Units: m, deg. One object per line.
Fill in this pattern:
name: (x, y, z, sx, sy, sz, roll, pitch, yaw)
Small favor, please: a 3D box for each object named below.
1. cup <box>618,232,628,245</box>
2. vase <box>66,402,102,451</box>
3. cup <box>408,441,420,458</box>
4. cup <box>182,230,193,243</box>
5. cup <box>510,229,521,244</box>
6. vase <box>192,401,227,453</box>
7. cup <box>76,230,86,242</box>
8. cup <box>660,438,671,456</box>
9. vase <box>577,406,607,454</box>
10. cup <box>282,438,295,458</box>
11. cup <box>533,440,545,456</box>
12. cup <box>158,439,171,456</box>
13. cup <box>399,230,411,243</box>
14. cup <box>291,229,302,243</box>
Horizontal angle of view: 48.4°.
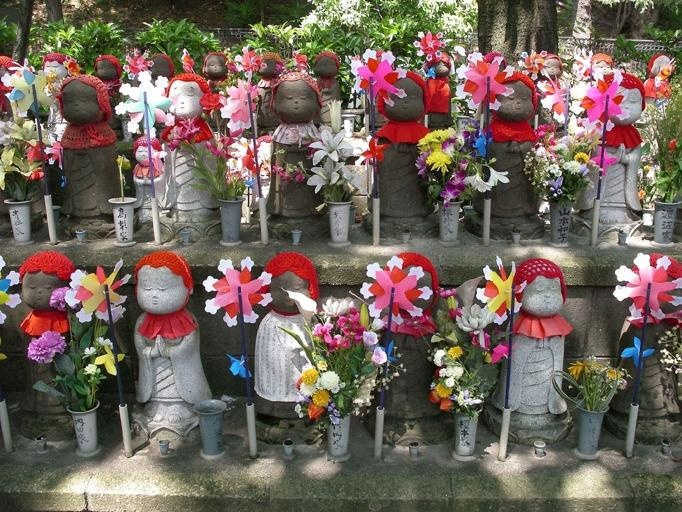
cup: (2.108, -0.132, 5.728, 0.089, 0.093, 0.085, -2, 9, 0)
vase: (-1.705, 1.179, 5.110, 0.215, 0.292, 0.223, -5, -2, 29)
cup: (0.476, 1.287, 5.070, 0.077, 0.103, 0.109, 6, 5, 35)
cup: (-1.160, -0.148, 5.737, 0.096, 0.098, 0.097, 0, 14, 0)
cup: (1.292, -0.157, 5.747, 0.097, 0.094, 0.093, 0, 4, 0)
vase: (-0.876, 1.147, 5.081, 0.204, 0.339, 0.258, -2, 7, -12)
cup: (-1.965, -0.154, 5.788, 0.094, 0.085, 0.073, -2, 6, -42)
cup: (2.168, 1.285, 5.082, 0.065, 0.084, 0.035, -13, -34, 37)
vase: (1.653, 1.159, 5.073, 0.170, 0.317, 0.207, 1, 7, 15)
cup: (-0.350, 1.274, 5.050, 0.091, 0.096, 0.101, 7, 16, 27)
cup: (1.302, 1.281, 5.062, 0.089, 0.093, 0.093, 2, 1, 0)
cup: (-1.171, 1.272, 5.027, 0.107, 0.096, 0.073, 2, 9, -6)
cup: (0.491, -0.146, 5.806, 0.089, 0.084, 0.083, 4, -13, 1)
cup: (-0.346, -0.153, 5.750, 0.100, 0.097, 0.092, 2, 14, -1)
